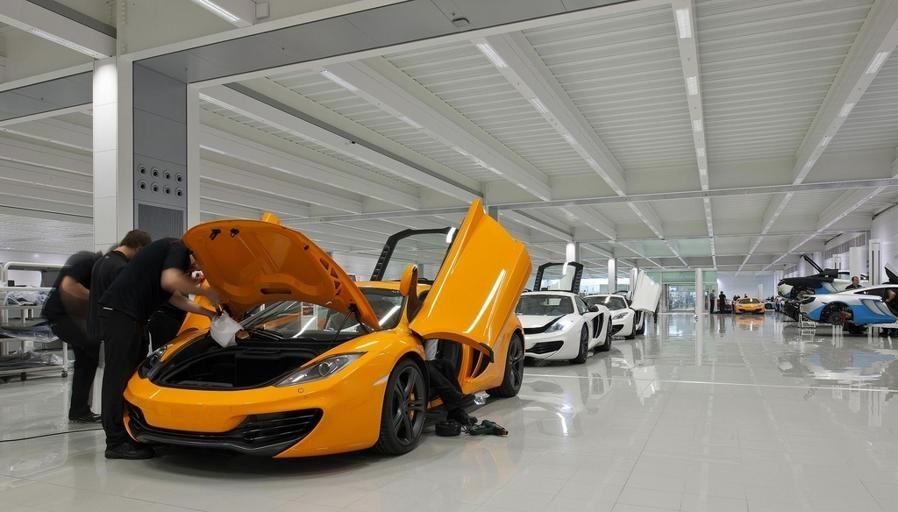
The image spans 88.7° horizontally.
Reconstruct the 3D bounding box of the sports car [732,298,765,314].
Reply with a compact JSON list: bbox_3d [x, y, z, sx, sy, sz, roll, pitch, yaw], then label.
[{"bbox_3d":[23.936,4.057,37.021,1.993,1.087,2.392,0,-1,25],"label":"sports car"}]

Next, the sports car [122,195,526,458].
[{"bbox_3d":[-0.840,1.042,5.898,3.550,1.557,3.935,-5,-11,29],"label":"sports car"}]

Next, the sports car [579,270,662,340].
[{"bbox_3d":[5.690,1.520,16.326,3.333,1.509,4.078,2,6,28],"label":"sports car"}]

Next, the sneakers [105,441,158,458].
[{"bbox_3d":[-3.402,2.122,4.990,0.442,0.136,0.211,10,-15,-29],"label":"sneakers"}]

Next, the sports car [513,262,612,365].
[{"bbox_3d":[2.359,1.261,11.641,2.870,1.930,4.751,3,1,24],"label":"sports car"}]
